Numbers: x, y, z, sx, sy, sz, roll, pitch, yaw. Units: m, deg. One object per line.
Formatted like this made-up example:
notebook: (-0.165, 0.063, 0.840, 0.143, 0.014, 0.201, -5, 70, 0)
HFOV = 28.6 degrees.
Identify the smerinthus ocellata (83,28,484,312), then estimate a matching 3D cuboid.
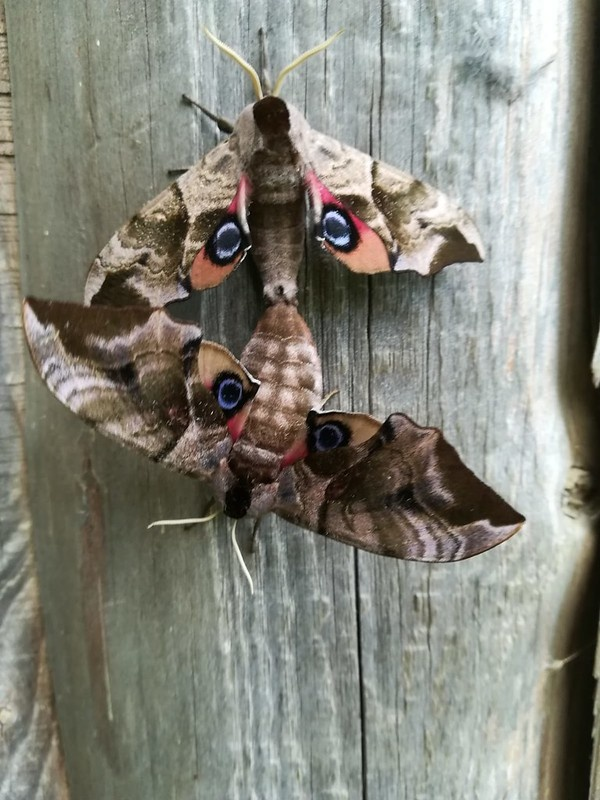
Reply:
smerinthus ocellata: (-0.051, -0.538, 3.078, 1.022, 0.438, 0.506, -3, -60, 0)

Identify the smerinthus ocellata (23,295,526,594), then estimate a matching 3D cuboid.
smerinthus ocellata: (-0.079, 0.048, 2.916, 1.291, 0.350, 0.638, 25, -108, -17)
